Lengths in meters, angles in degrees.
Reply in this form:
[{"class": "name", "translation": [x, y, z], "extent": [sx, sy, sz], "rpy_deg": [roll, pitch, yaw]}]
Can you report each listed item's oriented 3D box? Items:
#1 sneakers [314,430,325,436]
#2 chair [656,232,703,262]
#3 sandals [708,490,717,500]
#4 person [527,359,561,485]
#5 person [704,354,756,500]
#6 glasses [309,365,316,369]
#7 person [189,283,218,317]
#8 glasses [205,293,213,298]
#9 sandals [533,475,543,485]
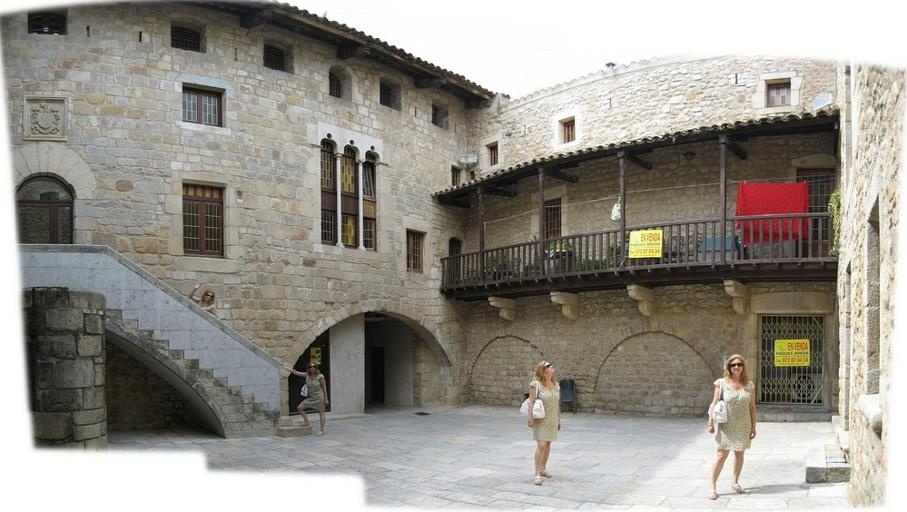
[{"class": "sneakers", "translation": [-3.475, 4.663, 25.593], "extent": [0.127, 0.082, 0.232], "rpy_deg": [-7, -16, 21]}, {"class": "chair", "translation": [6.154, -0.192, 26.812], "extent": [0.911, 0.753, 0.494], "rpy_deg": [3, 5, 36]}, {"class": "sandals", "translation": [5.386, 4.936, 20.218], "extent": [0.145, 0.177, 0.278], "rpy_deg": [-7, -9, 39]}, {"class": "person", "translation": [1.972, 3.666, 21.581], "extent": [0.713, 2.641, 1.235], "rpy_deg": [-2, -7, 4]}, {"class": "person", "translation": [5.794, 3.572, 20.521], "extent": [0.992, 2.937, 1.025], "rpy_deg": [-3, -8, 12]}, {"class": "glasses", "translation": [-3.658, 2.901, 25.473], "extent": [0.153, 0.066, 0.169], "rpy_deg": [0, -8, -7]}, {"class": "person", "translation": [-6.684, 1.185, 26.250], "extent": [0.772, 0.877, 0.905], "rpy_deg": [0, -7, -14]}, {"class": "glasses", "translation": [-6.491, 1.052, 26.211], "extent": [0.093, 0.127, 0.241], "rpy_deg": [-4, -7, 17]}, {"class": "sandals", "translation": [1.827, 4.876, 21.237], "extent": [0.171, 0.156, 0.388], "rpy_deg": [0, -10, 2]}]
